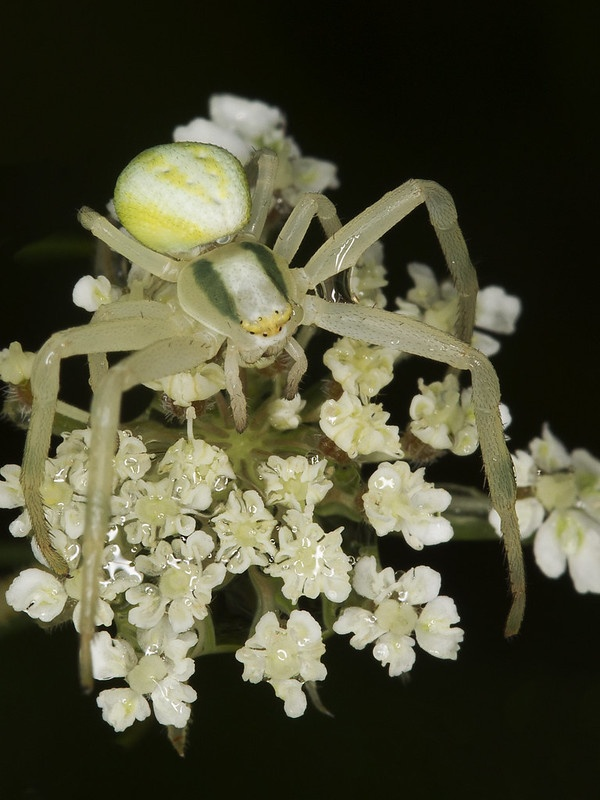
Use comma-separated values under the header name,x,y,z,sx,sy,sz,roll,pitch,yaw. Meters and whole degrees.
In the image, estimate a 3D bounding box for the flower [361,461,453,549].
name,x,y,z,sx,sy,sz,roll,pitch,yaw
flower,0.105,0.105,0.878,0.091,0.119,0.072,21,82,3

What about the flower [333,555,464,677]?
name,x,y,z,sx,sy,sz,roll,pitch,yaw
flower,0.098,0.205,0.833,0.119,0.067,0.104,18,81,2

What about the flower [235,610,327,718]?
name,x,y,z,sx,sy,sz,roll,pitch,yaw
flower,-0.014,0.245,0.852,0.082,0.099,0.098,28,82,4

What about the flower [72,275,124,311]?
name,x,y,z,sx,sy,sz,roll,pitch,yaw
flower,-0.208,-0.112,0.950,0.045,0.022,0.052,-4,84,-21

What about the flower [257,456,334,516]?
name,x,y,z,sx,sy,sz,roll,pitch,yaw
flower,-0.005,0.080,0.847,0.069,0.064,0.051,7,81,1

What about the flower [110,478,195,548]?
name,x,y,z,sx,sy,sz,roll,pitch,yaw
flower,-0.137,0.103,0.808,0.068,0.023,0.064,11,83,3

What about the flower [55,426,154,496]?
name,x,y,z,sx,sy,sz,roll,pitch,yaw
flower,-0.190,0.052,0.837,0.075,0.024,0.072,-24,51,-26

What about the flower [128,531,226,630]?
name,x,y,z,sx,sy,sz,roll,pitch,yaw
flower,-0.116,0.164,0.797,0.079,0.074,0.019,21,94,14

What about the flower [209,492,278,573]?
name,x,y,z,sx,sy,sz,roll,pitch,yaw
flower,-0.048,0.119,0.805,0.061,0.025,0.072,-2,92,-9

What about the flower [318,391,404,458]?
name,x,y,z,sx,sy,sz,roll,pitch,yaw
flower,0.059,0.034,0.854,0.092,0.067,0.029,16,109,11

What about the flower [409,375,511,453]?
name,x,y,z,sx,sy,sz,roll,pitch,yaw
flower,0.164,0.013,0.897,0.083,0.037,0.084,46,39,-26

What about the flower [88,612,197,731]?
name,x,y,z,sx,sy,sz,roll,pitch,yaw
flower,-0.142,0.262,0.840,0.093,0.106,0.113,0,81,0

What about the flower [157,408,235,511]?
name,x,y,z,sx,sy,sz,roll,pitch,yaw
flower,-0.089,0.053,0.798,0.061,0.029,0.071,-2,72,-13

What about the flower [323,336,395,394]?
name,x,y,z,sx,sy,sz,roll,pitch,yaw
flower,0.067,-0.034,0.888,0.058,0.025,0.061,-8,58,-15
